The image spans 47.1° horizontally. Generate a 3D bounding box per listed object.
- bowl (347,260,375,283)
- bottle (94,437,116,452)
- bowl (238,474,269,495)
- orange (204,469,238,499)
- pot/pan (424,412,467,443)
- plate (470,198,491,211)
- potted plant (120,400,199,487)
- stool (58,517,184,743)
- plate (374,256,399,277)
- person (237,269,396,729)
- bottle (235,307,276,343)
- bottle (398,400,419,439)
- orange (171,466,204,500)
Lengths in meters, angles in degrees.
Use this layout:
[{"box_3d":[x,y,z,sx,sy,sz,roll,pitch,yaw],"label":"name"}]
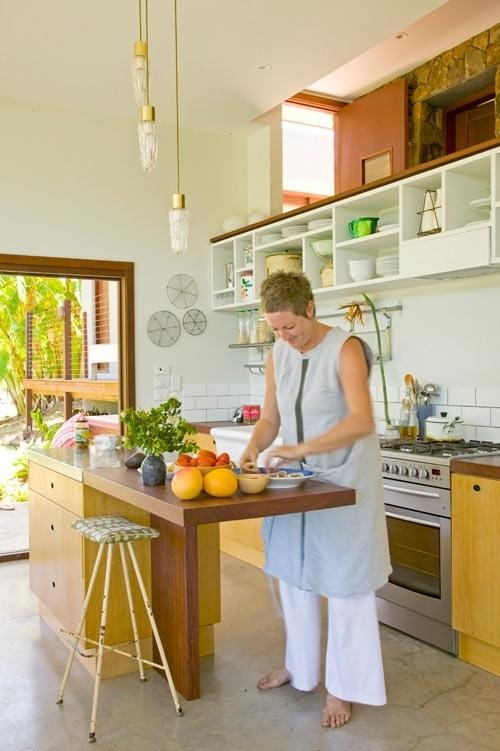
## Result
[{"box_3d":[0.674,-0.617,3.451,0.142,0.111,0.136,-3,-3,0],"label":"bowl"},{"box_3d":[-0.738,0.351,2.942,0.070,0.064,0.089,0,-6,5],"label":"bottle"},{"box_3d":[0.012,0.291,1.544,0.081,0.044,0.133,-1,-5,3],"label":"bowl"},{"box_3d":[-0.070,0.277,1.494,0.101,0.073,0.099,0,-5,-15],"label":"orange"},{"box_3d":[1.008,0.273,2.992,0.191,0.147,0.170,-3,-5,19],"label":"pot/pan"},{"box_3d":[1.030,-0.769,2.565,0.079,0.017,0.081,-2,-1,35],"label":"plate"},{"box_3d":[-0.286,0.209,1.849,0.194,0.278,0.243,4,2,-20],"label":"potted plant"},{"box_3d":[-0.471,0.867,2.084,0.448,0.682,0.440,-1,2,43],"label":"stool"},{"box_3d":[0.748,-0.607,3.178,0.119,0.094,0.122,1,-3,-37],"label":"plate"},{"box_3d":[0.215,0.428,1.882,0.464,1.459,0.712,-2,-5,13],"label":"person"},{"box_3d":[0.033,-0.412,4.821,0.197,0.367,0.375,-1,2,-25],"label":"bottle"},{"box_3d":[0.879,0.239,3.187,0.097,0.221,0.171,-3,-5,21],"label":"bottle"},{"box_3d":[-0.158,0.254,1.447,0.078,0.082,0.078,-5,17,-7],"label":"orange"}]
